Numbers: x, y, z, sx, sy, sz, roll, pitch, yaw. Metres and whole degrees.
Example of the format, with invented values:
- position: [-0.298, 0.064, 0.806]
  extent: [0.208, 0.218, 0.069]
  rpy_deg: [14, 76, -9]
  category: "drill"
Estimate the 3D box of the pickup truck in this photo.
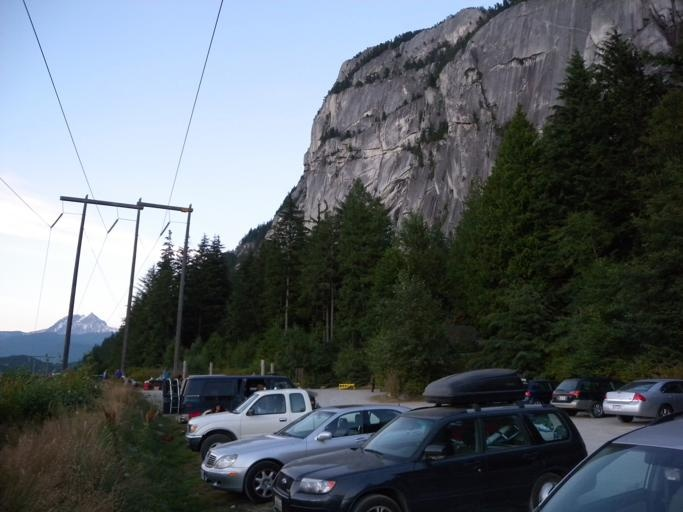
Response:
- position: [-2.828, 5.283, 20.695]
  extent: [3.772, 1.956, 1.931]
  rpy_deg: [1, -9, -10]
  category: "pickup truck"

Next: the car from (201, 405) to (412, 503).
- position: [-0.960, 5.589, 17.931]
  extent: [5.562, 1.988, 2.615]
  rpy_deg: [3, -9, -13]
  category: "car"
